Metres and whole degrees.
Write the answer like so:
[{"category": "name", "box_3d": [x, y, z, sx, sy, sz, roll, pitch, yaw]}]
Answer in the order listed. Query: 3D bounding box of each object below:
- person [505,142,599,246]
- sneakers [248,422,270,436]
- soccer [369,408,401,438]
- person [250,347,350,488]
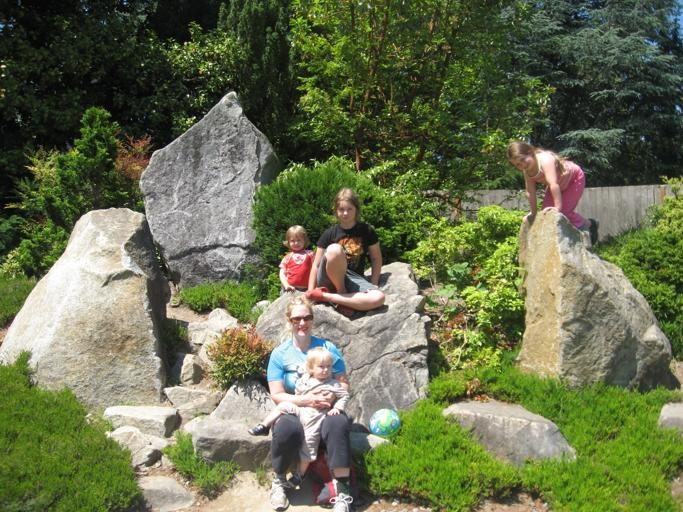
[{"category": "person", "box_3d": [3.462, -1.105, 11.122, 1.701, 1.389, 0.913, -11, 19, -38]}, {"category": "sneakers", "box_3d": [-1.090, 2.372, 9.591, 0.169, 0.142, 0.374, -37, -22, 19]}, {"category": "soccer", "box_3d": [0.629, 2.367, 9.925, 0.336, 0.302, 0.376, 8, -13, -13]}, {"category": "person", "box_3d": [-0.573, 2.114, 9.461, 1.312, 1.982, 0.923, 31, -30, -31]}]
